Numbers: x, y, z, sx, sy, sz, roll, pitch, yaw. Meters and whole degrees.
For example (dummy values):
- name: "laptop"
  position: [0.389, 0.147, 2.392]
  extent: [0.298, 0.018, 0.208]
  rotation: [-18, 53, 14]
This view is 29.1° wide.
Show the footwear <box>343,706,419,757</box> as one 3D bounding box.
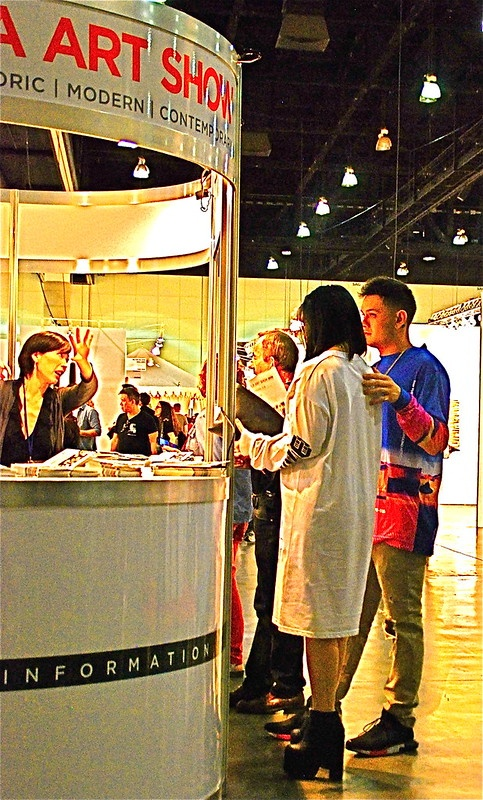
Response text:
- name: "footwear"
  position: [0.409, 1.049, 2.960]
  extent: [0.272, 0.198, 0.099]
  rotation: [4, -26, -9]

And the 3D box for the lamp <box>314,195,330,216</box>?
- name: "lamp"
  position: [0.858, -2.031, 9.715]
  extent: [0.171, 0.210, 0.047]
  rotation: [0, 0, 42]

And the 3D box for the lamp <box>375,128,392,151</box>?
- name: "lamp"
  position: [1.298, -2.433, 8.679]
  extent: [0.182, 0.231, 0.177]
  rotation: [10, 16, 35]

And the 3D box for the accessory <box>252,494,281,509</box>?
- name: "accessory"
  position: [0.094, 0.382, 3.524]
  extent: [0.072, 0.053, 0.060]
  rotation: [-5, -9, 33]

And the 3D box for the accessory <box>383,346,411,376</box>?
- name: "accessory"
  position: [0.559, -0.142, 3.303]
  extent: [0.017, 0.120, 0.019]
  rotation: [33, -8, -37]

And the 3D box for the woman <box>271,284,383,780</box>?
- name: "woman"
  position: [0.262, 0.376, 2.796]
  extent: [0.318, 1.463, 0.274]
  rotation: [0, 0, 5]

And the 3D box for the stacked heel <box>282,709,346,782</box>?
- name: "stacked heel"
  position: [0.224, 1.001, 2.751]
  extent: [0.224, 0.224, 0.140]
  rotation: [5, -6, 5]

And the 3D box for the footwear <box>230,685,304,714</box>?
- name: "footwear"
  position: [0.096, 1.071, 3.394]
  extent: [0.270, 0.125, 0.099]
  rotation: [5, -15, -5]

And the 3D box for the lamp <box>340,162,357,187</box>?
- name: "lamp"
  position: [1.054, -2.182, 8.994]
  extent: [0.182, 0.201, 0.188]
  rotation: [1, -2, 2]

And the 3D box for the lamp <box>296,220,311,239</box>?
- name: "lamp"
  position: [0.671, -1.824, 9.997]
  extent: [0.068, 0.163, 0.196]
  rotation: [0, 0, -30]
